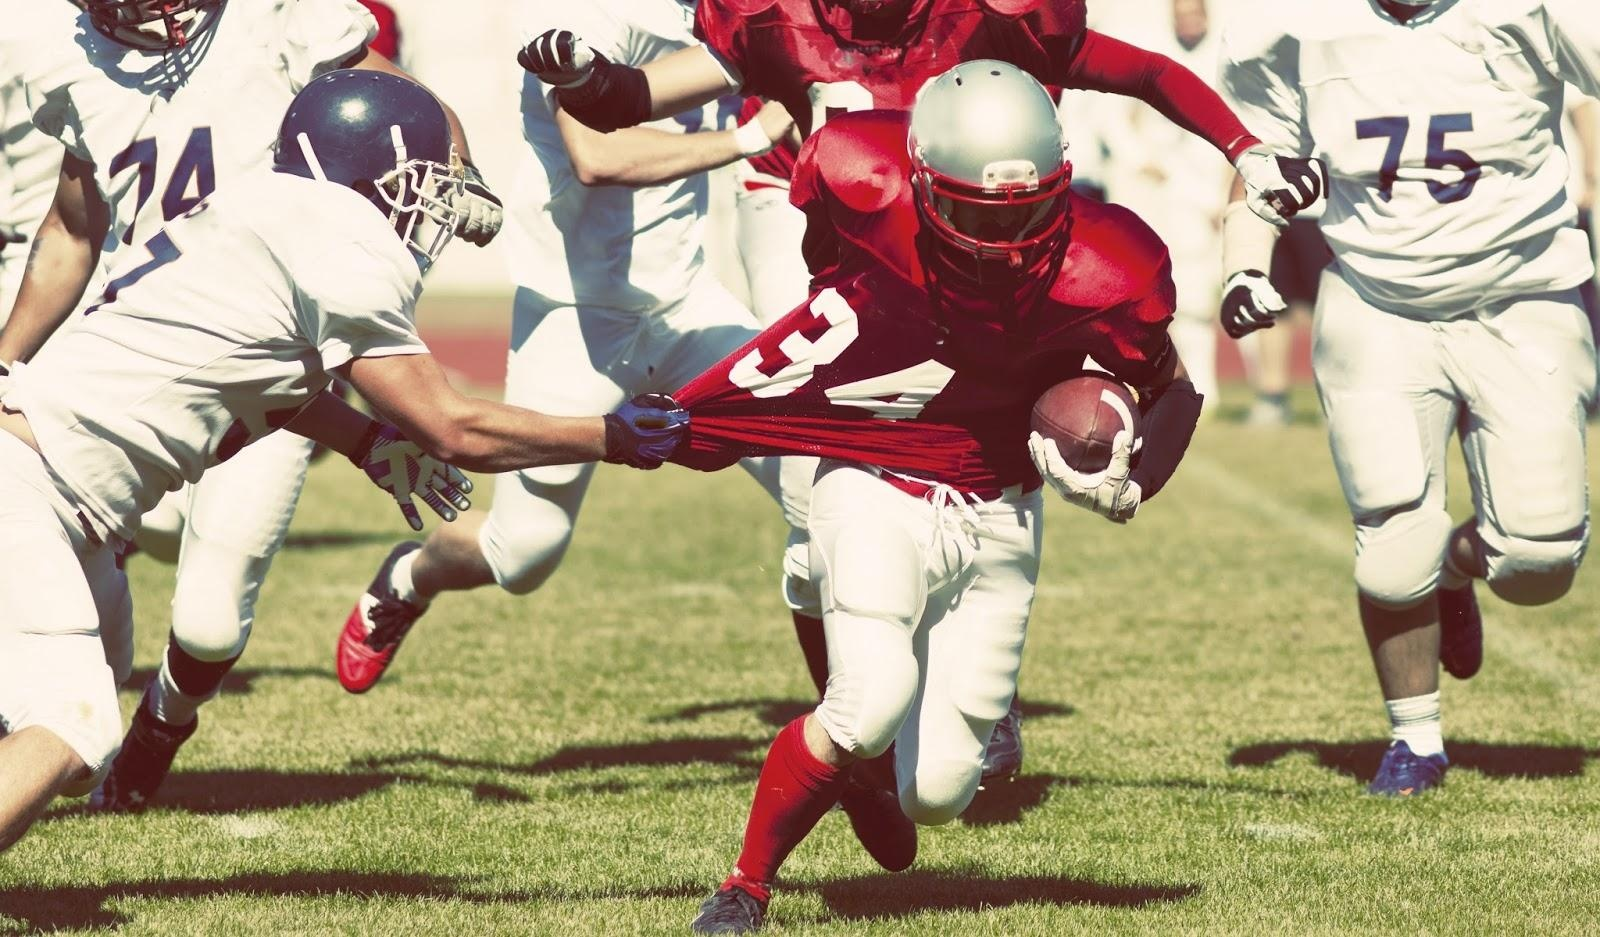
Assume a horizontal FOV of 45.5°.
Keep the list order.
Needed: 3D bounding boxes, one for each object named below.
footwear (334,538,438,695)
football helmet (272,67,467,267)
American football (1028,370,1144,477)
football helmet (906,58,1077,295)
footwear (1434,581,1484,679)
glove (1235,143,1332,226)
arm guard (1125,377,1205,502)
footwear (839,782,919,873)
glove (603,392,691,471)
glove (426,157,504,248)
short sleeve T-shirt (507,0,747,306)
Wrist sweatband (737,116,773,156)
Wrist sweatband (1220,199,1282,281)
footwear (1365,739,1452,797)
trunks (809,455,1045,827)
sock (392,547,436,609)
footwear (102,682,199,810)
[{"bbox_3d":[-1.589,0.586,7.252,0.247,0.666,0.265,32,-12,-30],"label":"footwear"},{"bbox_3d":[-1.305,-0.981,5.918,0.622,0.563,0.520,12,10,-22],"label":"football helmet"},{"bbox_3d":[0.845,-0.139,5.655,0.253,0.246,0.317,3,-1,10],"label":"American football"},{"bbox_3d":[0.480,-0.858,5.719,0.496,0.644,0.524,-2,-33,-4],"label":"football helmet"},{"bbox_3d":[2.460,0.607,7.195,0.212,0.388,0.116,-4,19,-3],"label":"footwear"},{"bbox_3d":[1.471,-0.879,5.940,0.231,0.268,0.129,-27,-7,-20],"label":"glove"},{"bbox_3d":[1.106,-0.089,5.799,0.217,0.105,0.389,29,27,2],"label":"arm guard"},{"bbox_3d":[0.253,1.120,6.109,0.173,0.325,0.134,-35,6,-3],"label":"footwear"},{"bbox_3d":[-0.447,-0.104,5.724,0.248,0.187,0.129,-10,-32,9],"label":"glove"},{"bbox_3d":[-0.994,-0.800,5.823,0.106,0.186,0.243,-34,37,-14],"label":"glove"},{"bbox_3d":[-0.590,-1.076,6.504,0.562,0.899,0.961,7,12,21],"label":"short sleeve T-shirt"},{"bbox_3d":[-0.148,-1.082,6.271,0.117,0.118,0.037,-25,-10,3],"label":"Wrist sweatband"},{"bbox_3d":[1.570,-0.777,6.665,0.179,0.314,0.127,23,-21,-21],"label":"Wrist sweatband"},{"bbox_3d":[2.094,1.044,6.619,0.152,0.152,0.244,-5,-3,21],"label":"footwear"},{"bbox_3d":[0.393,0.480,5.792,0.613,1.137,0.460,-1,-2,-1],"label":"trunks"},{"bbox_3d":[-1.459,0.421,7.222,0.111,0.260,0.088,3,-28,36],"label":"sock"},{"bbox_3d":[-2.214,0.980,6.606,0.178,0.524,0.237,30,-15,-25],"label":"footwear"}]
